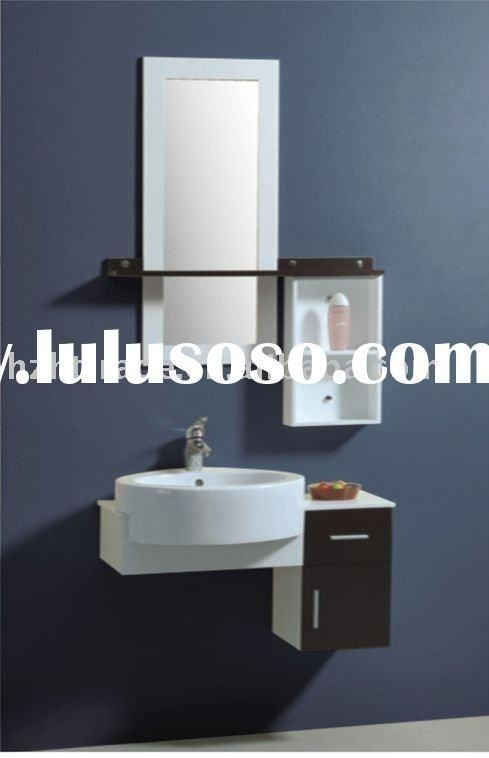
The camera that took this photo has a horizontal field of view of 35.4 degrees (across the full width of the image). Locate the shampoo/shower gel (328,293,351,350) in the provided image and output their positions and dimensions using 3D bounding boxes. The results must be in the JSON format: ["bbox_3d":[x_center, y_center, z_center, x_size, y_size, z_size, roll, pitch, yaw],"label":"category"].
[{"bbox_3d":[0.303,-0.180,2.455,0.065,0.178,0.036,0,-1,2],"label":"shampoo/shower gel"}]

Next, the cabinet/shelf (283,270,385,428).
[{"bbox_3d":[0.286,-0.087,2.459,0.326,0.482,0.180,0,-1,4],"label":"cabinet/shelf"}]

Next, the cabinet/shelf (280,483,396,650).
[{"bbox_3d":[0.266,0.551,2.292,0.331,0.421,0.315,1,4,3],"label":"cabinet/shelf"}]

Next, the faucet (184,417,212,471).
[{"bbox_3d":[-0.142,0.195,2.306,0.069,0.158,0.074,1,-1,-15],"label":"faucet"}]

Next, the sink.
[{"bbox_3d":[-0.091,0.355,2.111,0.514,0.174,0.371,1,-1,-10],"label":"sink"}]
